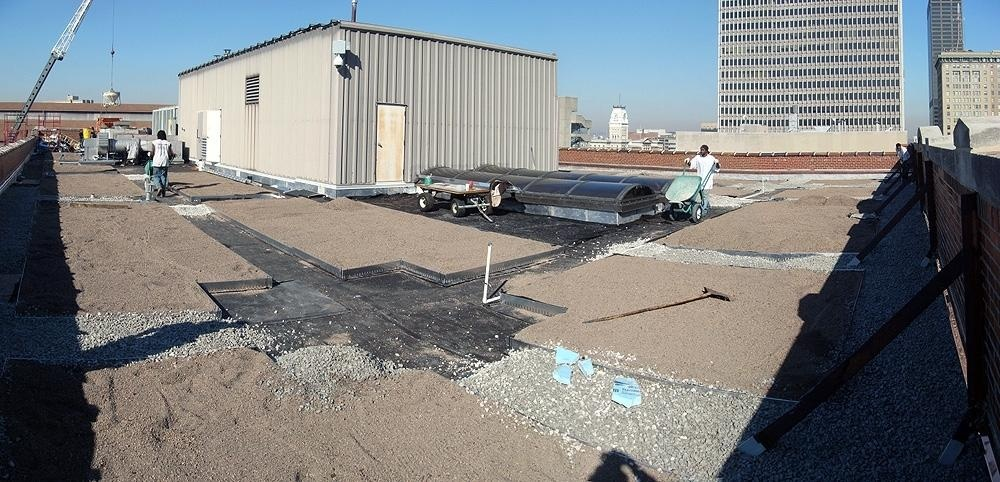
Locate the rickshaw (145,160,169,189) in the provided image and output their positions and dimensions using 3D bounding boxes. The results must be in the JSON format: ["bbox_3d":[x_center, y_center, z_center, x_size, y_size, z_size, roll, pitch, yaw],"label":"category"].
[{"bbox_3d":[-12.878,-2.520,19.295,0.917,0.647,1.943,-28,23,-34],"label":"rickshaw"}]

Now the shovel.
[{"bbox_3d":[3.085,1.247,9.871,3.301,0.219,0.910,-9,18,-12],"label":"shovel"}]

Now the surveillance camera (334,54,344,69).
[{"bbox_3d":[-5.874,-6.568,18.666,0.391,0.402,0.368,-1,10,-12],"label":"surveillance camera"}]

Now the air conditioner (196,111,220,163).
[{"bbox_3d":[-15.973,-5.728,28.522,1.028,2.760,3.171,0,6,-43],"label":"air conditioner"}]
